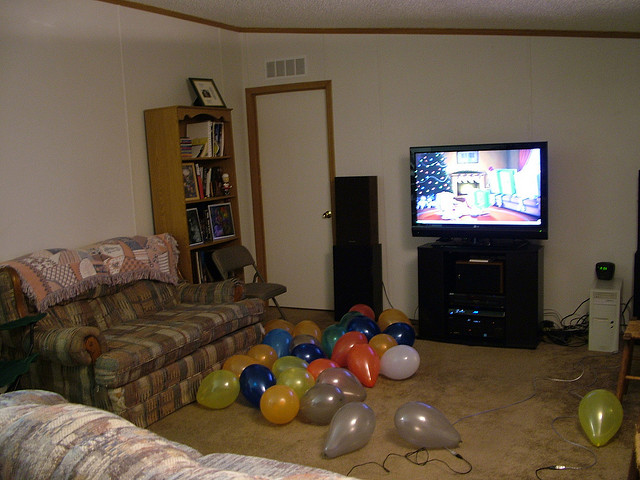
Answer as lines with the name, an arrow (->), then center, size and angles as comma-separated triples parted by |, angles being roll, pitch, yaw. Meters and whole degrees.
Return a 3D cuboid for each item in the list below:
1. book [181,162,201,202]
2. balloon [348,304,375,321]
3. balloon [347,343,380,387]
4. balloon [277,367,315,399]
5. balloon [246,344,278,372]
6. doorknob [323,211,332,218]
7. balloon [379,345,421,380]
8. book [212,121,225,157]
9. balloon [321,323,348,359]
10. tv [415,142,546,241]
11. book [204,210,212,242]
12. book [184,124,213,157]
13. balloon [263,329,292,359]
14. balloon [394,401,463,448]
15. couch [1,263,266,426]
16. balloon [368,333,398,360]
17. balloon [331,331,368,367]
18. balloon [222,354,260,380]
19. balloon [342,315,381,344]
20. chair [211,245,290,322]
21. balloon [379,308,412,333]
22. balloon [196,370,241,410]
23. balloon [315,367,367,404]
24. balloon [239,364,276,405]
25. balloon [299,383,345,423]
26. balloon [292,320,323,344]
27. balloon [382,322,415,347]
book -> -1.245, -0.560, 4.878 | 0.145, 0.364, 0.233 | -6, 11, -14
balloon -> 0.397, 0.653, 4.805 | 0.161, 0.195, 0.167 | 1, 9, 13
balloon -> 0.331, 0.946, 3.883 | 0.216, 0.304, 0.222 | -31, -30, 19
balloon -> -0.187, 1.045, 3.594 | 0.256, 0.302, 0.251 | 1, -5, -24
balloon -> -0.442, 0.885, 3.945 | 0.173, 0.210, 0.178 | 4, 14, 30
doorknob -> 0.078, -0.281, 5.682 | 0.060, 0.070, 0.077 | -3, 12, -40
balloon -> 0.610, 0.965, 3.937 | 0.302, 0.289, 0.200 | -2, 11, 4
book -> -1.073, -1.069, 5.287 | 0.117, 0.340, 0.347 | 1, 10, 6
balloon -> 0.123, 0.877, 4.310 | 0.232, 0.316, 0.263 | 3, -2, 41
tv -> 1.511, -0.463, 4.650 | 0.890, 0.668, 0.034 | 1, 3, 20
book -> -1.153, -0.154, 5.179 | 0.056, 0.312, 0.062 | -6, 11, -14
book -> -1.235, -1.032, 5.292 | 0.287, 0.306, 0.299 | 1, 4, 11
balloon -> -0.359, 0.892, 4.279 | 0.253, 0.259, 0.338 | 4, 26, -7
balloon -> 0.656, 1.130, 3.042 | 0.405, 0.282, 0.156 | -2, 11, 5
couch -> -1.443, 0.307, 3.765 | 1.016, 1.070, 1.828 | 3, 9, 27
balloon -> 0.498, 0.842, 4.096 | 0.167, 0.205, 0.173 | 0, 12, 12
balloon -> 0.237, 0.849, 4.079 | 0.281, 0.221, 0.218 | -10, -13, 1
balloon -> -0.608, 0.943, 3.806 | 0.194, 0.153, 0.147 | 2, 23, -4
balloon -> 0.361, 0.774, 4.386 | 0.208, 0.259, 0.221 | 1, 2, 13
chair -> -0.687, 0.495, 5.069 | 0.682, 0.851, 0.556 | 5, 13, 45
balloon -> 0.671, 0.707, 4.635 | 0.198, 0.242, 0.204 | -3, 12, 9
balloon -> -0.735, 1.010, 3.660 | 0.332, 0.256, 0.266 | -1, 9, -30
balloon -> 0.143, 1.003, 3.499 | 0.282, 0.215, 0.217 | 21, 28, 5
balloon -> -0.455, 0.989, 3.586 | 0.206, 0.213, 0.283 | -23, -24, 31
balloon -> 0.013, 1.045, 3.437 | 0.334, 0.221, 0.378 | 7, 5, 6
balloon -> -0.102, 0.806, 4.443 | 0.183, 0.226, 0.188 | 2, -29, -4
balloon -> 0.677, 0.805, 4.354 | 0.223, 0.175, 0.171 | -6, -6, -12
